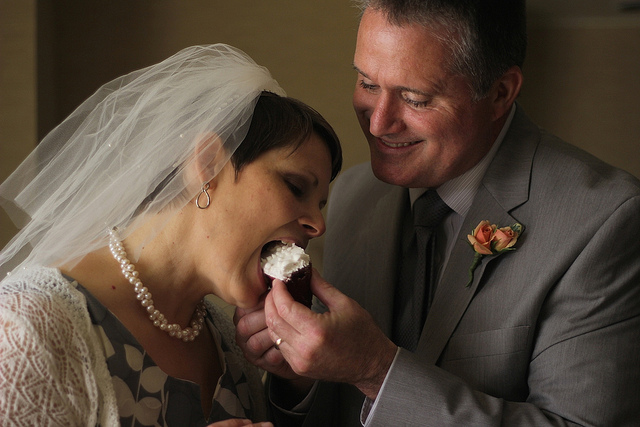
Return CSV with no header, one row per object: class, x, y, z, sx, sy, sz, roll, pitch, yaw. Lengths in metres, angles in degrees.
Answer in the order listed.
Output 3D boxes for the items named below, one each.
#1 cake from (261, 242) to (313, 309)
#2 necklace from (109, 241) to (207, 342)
cake,-0.094,0.255,2.496,0.141,0.226,0.227,-9,1,6
necklace,-0.654,0.346,2.394,0.056,0.392,0.310,-28,14,28
